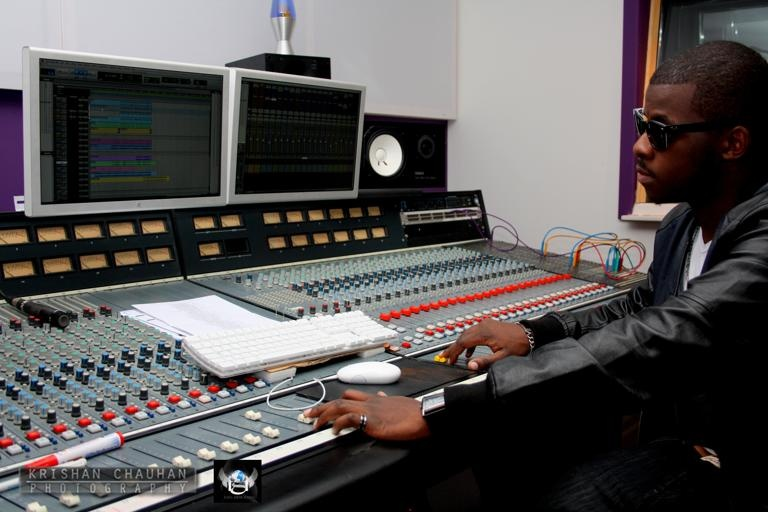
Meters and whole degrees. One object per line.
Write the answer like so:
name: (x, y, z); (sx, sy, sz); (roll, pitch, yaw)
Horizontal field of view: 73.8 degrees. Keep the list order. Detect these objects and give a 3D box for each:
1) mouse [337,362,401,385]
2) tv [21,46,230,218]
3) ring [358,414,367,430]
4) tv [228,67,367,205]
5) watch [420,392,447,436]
mouse: (-0.044, 0.326, 1.476); (0.128, 0.031, 0.076); (2, 5, 2)
tv: (-1.041, -0.481, 2.052); (0.841, 0.532, 0.107); (-4, 10, -39)
ring: (-0.051, 0.407, 1.254); (0.026, 0.032, 0.036); (0, 46, -9)
tv: (-0.442, -0.574, 2.484); (0.813, 0.546, 0.056); (-3, 11, -41)
watch: (0.124, 0.392, 1.303); (0.085, 0.105, 0.095); (-6, 9, 1)
